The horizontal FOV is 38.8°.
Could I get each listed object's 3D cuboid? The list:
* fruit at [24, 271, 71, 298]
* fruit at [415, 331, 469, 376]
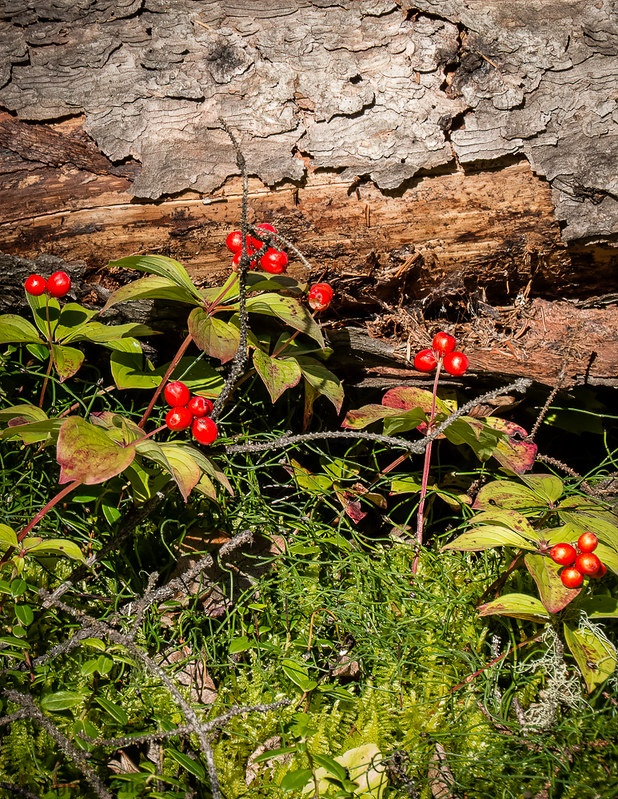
[{"bbox_3d":[-0.871,-0.378,2.908,0.155,0.072,0.069,3,25,6],"label":"fruit"},{"bbox_3d":[0.462,-0.145,2.973,0.171,0.155,0.068,35,14,23],"label":"fruit"}]
